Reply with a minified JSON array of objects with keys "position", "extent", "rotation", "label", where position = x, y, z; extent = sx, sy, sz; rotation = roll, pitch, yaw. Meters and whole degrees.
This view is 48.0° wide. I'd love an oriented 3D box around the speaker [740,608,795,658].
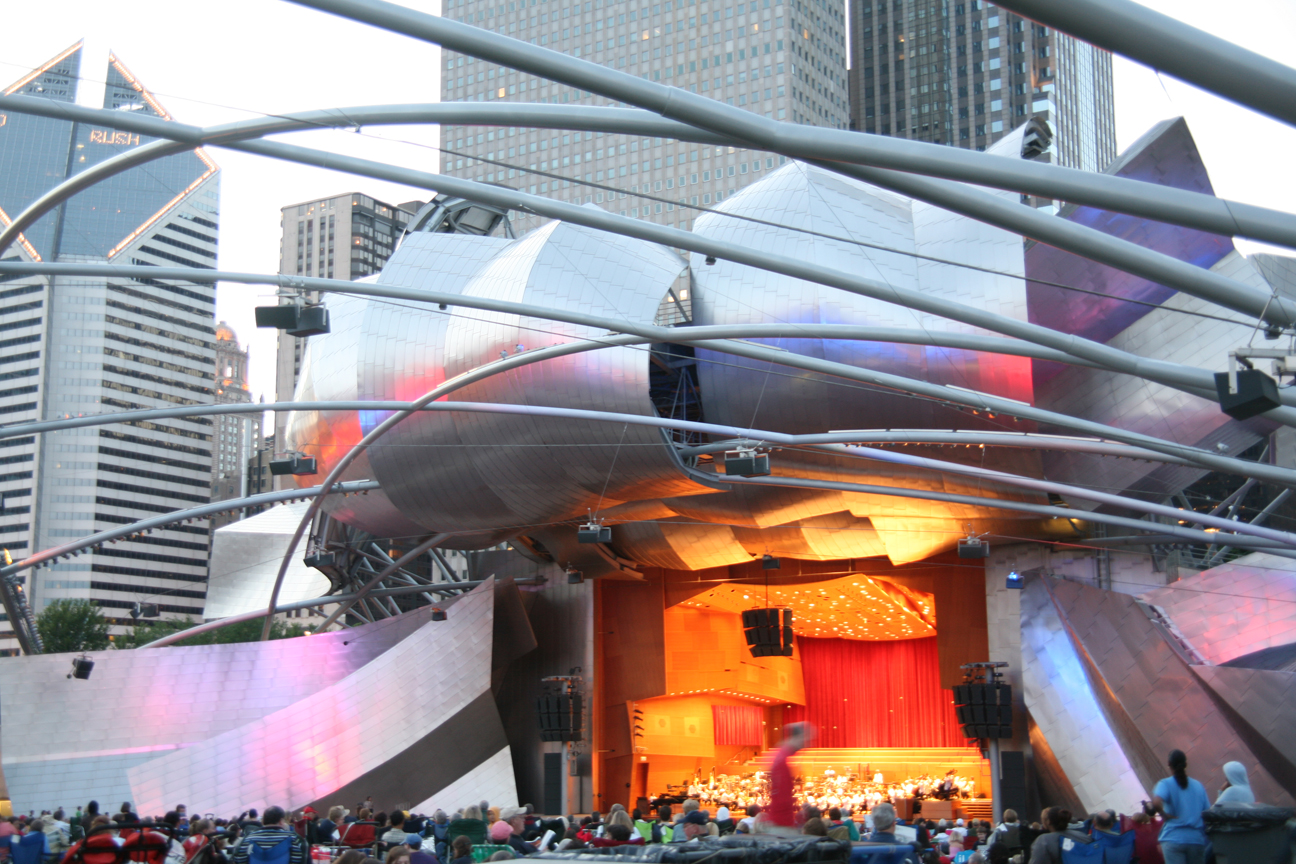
[{"position":[4.555,7.574,55.327],"extent":[2.250,1.325,2.041],"rotation":[1,-15,-3],"label":"speaker"}]
